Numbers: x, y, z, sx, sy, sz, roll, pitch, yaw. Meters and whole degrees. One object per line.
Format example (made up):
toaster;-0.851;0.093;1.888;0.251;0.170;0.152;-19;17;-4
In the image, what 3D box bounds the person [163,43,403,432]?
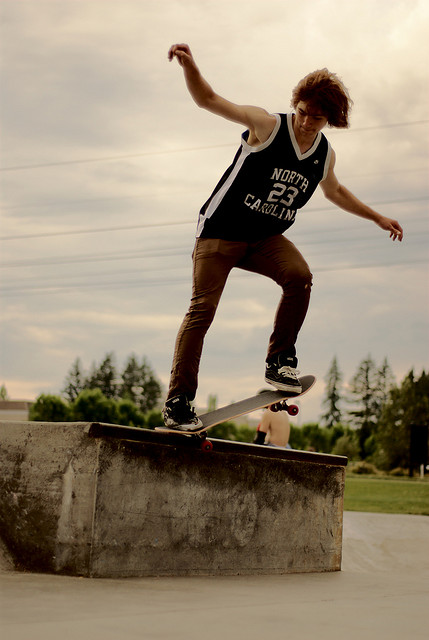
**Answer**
person;0.157;-0.368;5.497;1.179;1.625;0.728;16;-6;-15
